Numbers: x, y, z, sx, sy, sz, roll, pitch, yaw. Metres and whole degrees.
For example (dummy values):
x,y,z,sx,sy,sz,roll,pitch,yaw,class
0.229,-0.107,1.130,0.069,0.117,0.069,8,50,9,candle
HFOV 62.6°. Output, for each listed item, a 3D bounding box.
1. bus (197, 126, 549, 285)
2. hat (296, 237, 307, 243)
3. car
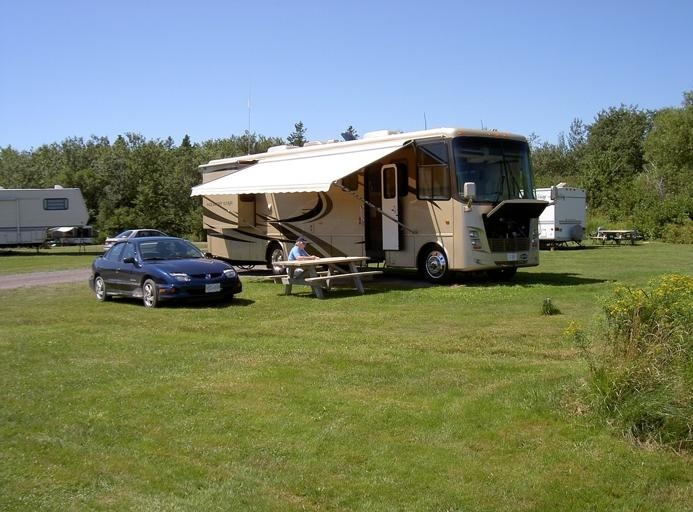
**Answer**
x,y,z,sx,sy,sz,roll,pitch,yaw,class
0.432,-1.372,17.423,10.500,4.815,3.726,7,11,31,bus
-1.316,-0.463,17.036,0.338,0.117,0.237,0,3,-43,hat
-4.656,0.352,13.854,1.705,1.201,3.400,-1,-1,-44,car
